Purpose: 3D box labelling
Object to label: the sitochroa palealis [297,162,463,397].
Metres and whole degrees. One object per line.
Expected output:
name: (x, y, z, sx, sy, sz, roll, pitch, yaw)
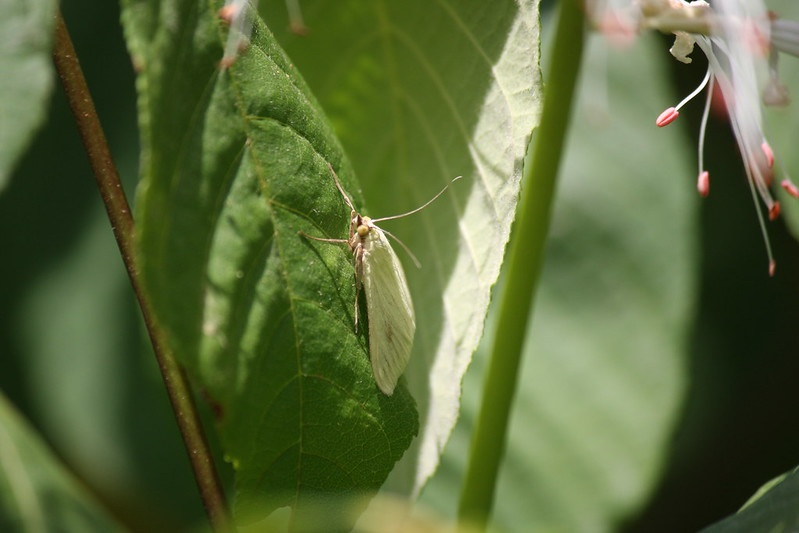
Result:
sitochroa palealis: (-0.037, 0.019, 0.796, 0.047, 0.209, 0.182, 19, 13, -23)
